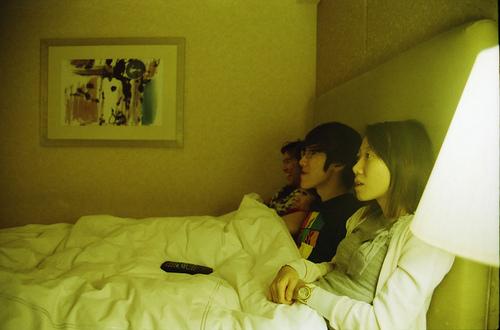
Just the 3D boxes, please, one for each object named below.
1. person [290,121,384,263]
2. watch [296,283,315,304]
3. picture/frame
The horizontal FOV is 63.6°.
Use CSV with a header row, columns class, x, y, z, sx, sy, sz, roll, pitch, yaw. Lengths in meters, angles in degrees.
class,x,y,z,sx,sy,sz,roll,pitch,yaw
person,0.482,0.162,2.174,0.374,0.695,0.746,10,-4,-2
watch,0.261,0.617,1.927,0.069,0.099,0.097,27,-15,14
picture/frame,-1.089,-0.557,3.030,0.913,0.620,0.034,0,1,1
